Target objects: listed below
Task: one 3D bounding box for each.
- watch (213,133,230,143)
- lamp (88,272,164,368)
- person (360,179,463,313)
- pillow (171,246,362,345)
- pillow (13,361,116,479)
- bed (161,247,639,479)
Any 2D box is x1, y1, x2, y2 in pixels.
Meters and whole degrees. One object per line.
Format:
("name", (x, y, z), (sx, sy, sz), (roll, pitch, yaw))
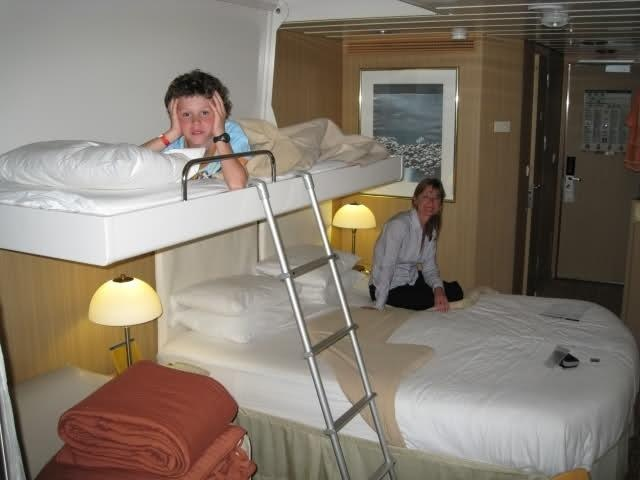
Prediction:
("watch", (-0.480, -0.483, 2.352), (0.064, 0.045, 0.068), (-3, -6, -27))
("lamp", (-1.177, 0.362, 2.932), (0.219, 0.252, 0.377), (12, 16, 43))
("person", (0.779, -0.086, 4.254), (0.970, 1.360, 0.954), (6, 17, 29))
("pillow", (-0.388, 0.113, 3.384), (0.616, 0.355, 1.273), (36, 32, 33))
("pillow", (-1.492, 0.959, 2.682), (0.350, 0.320, 0.589), (4, 12, 14))
("bed", (0.512, 0.776, 2.957), (2.122, 0.696, 1.520), (2, 17, 17))
